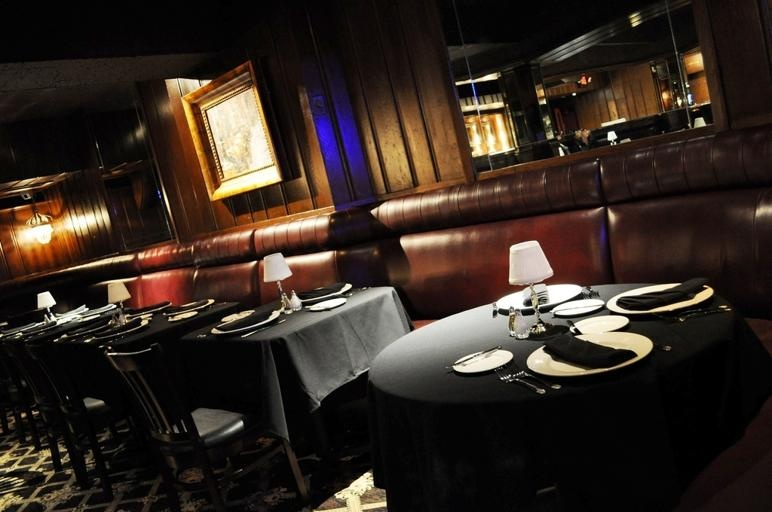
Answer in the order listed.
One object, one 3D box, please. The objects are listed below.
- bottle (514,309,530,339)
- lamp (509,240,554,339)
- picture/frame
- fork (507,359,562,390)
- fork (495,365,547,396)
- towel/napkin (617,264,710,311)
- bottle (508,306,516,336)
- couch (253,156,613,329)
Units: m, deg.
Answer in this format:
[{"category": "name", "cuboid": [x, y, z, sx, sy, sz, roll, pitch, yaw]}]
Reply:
[{"category": "bottle", "cuboid": [0.723, 0.365, 3.019, 0.070, 0.135, 0.033, -7, -23, 10]}, {"category": "lamp", "cuboid": [0.792, 0.177, 3.063, 0.243, 0.487, 0.244, -14, 4, -17]}, {"category": "picture/frame", "cuboid": [-1.662, -1.299, 6.188, 1.438, 1.217, 0.152, -3, 13, 44]}, {"category": "fork", "cuboid": [0.677, 0.565, 2.665, 0.090, 0.037, 0.239, -29, 26, -27]}, {"category": "fork", "cuboid": [0.646, 0.591, 2.684, 0.078, 0.037, 0.256, -33, 33, -22]}, {"category": "towel/napkin", "cuboid": [1.477, 0.193, 2.985, 0.375, 0.059, 0.208, -16, 8, -4]}, {"category": "bottle", "cuboid": [0.680, 0.360, 3.055, 0.028, 0.125, 0.067, 3, -4, -15]}, {"category": "couch", "cuboid": [0.897, -0.002, 5.223, 1.044, 1.127, 3.299, -16, 6, -42]}]
